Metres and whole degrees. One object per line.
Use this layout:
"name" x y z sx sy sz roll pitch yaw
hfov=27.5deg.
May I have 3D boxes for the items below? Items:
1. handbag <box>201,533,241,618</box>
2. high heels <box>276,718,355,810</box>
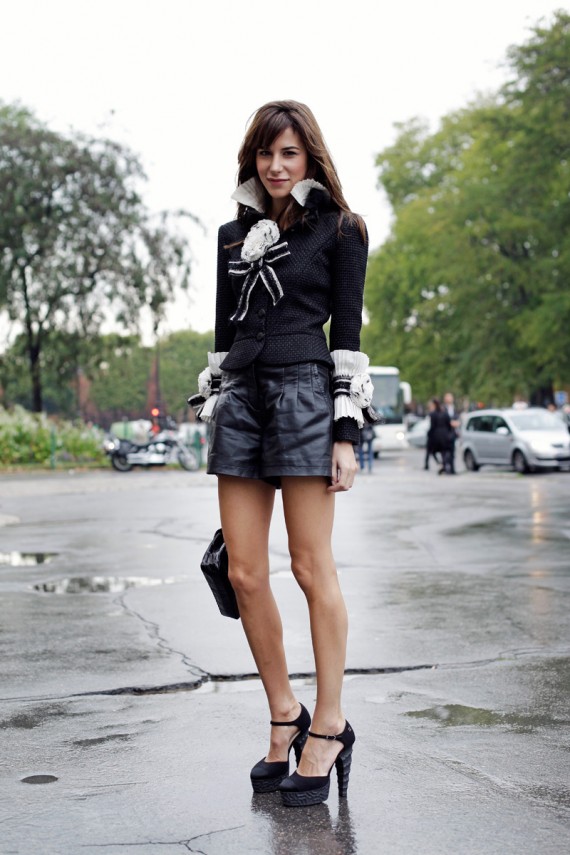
"handbag" -0.203 0.417 3.363 0.138 0.230 0.188 -5 11 -21
"high heels" 0.105 0.888 3.124 0.137 0.204 0.304 -1 0 24
